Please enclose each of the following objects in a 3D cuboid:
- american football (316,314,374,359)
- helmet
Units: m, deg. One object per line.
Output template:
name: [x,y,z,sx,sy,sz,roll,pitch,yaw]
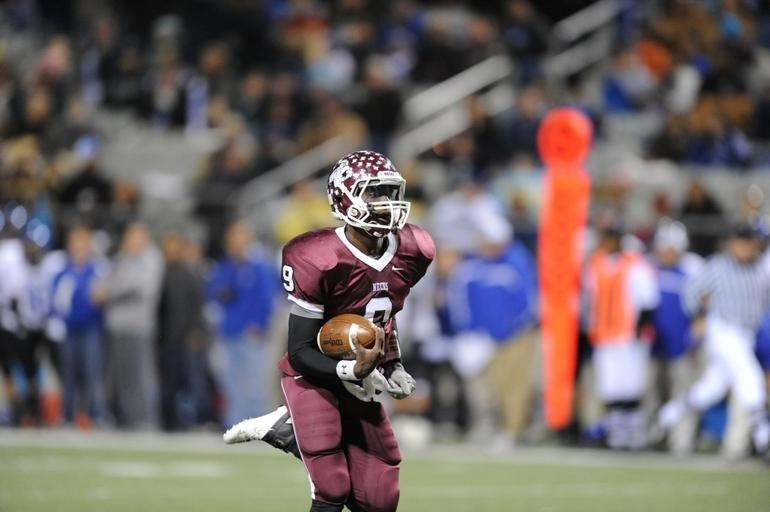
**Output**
american football: [-0.271,0.553,8.493,0.417,0.307,0.369,-5,1,45]
helmet: [-0.124,-0.472,8.823,0.433,0.521,0.579,-3,11,-36]
